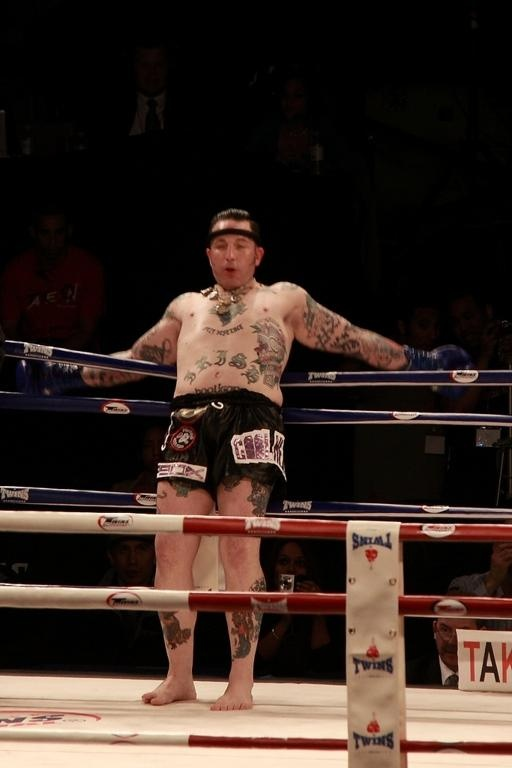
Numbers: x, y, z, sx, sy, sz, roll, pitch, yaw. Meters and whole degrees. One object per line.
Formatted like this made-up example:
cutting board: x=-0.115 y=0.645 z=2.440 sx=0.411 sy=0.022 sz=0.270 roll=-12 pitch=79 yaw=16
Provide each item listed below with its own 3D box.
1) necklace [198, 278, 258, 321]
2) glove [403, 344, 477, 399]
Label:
necklace: x=-0.122 y=-0.331 z=3.608 sx=0.145 sy=0.049 sz=0.191 roll=36 pitch=54 yaw=23
glove: x=0.779 y=-0.100 z=3.962 sx=0.195 sy=0.391 sz=0.153 roll=-5 pitch=5 yaw=-34
